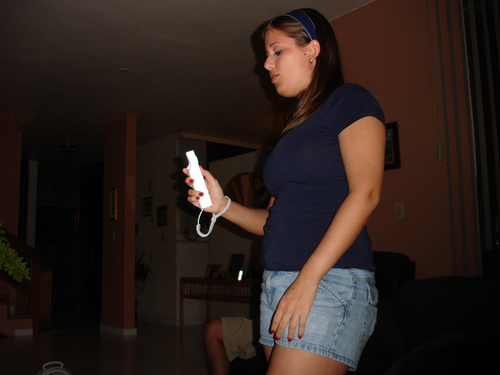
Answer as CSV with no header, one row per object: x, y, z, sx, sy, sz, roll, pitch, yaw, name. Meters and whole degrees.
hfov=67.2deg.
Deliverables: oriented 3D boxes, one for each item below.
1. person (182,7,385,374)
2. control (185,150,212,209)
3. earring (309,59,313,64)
0.179,-0.037,1.096,0.394,1.123,0.217,2,-6,20,person
-0.169,-0.027,1.369,0.084,0.213,0.118,-1,-11,3,control
0.193,-0.399,1.187,0.008,0.011,0.003,-5,4,18,earring
